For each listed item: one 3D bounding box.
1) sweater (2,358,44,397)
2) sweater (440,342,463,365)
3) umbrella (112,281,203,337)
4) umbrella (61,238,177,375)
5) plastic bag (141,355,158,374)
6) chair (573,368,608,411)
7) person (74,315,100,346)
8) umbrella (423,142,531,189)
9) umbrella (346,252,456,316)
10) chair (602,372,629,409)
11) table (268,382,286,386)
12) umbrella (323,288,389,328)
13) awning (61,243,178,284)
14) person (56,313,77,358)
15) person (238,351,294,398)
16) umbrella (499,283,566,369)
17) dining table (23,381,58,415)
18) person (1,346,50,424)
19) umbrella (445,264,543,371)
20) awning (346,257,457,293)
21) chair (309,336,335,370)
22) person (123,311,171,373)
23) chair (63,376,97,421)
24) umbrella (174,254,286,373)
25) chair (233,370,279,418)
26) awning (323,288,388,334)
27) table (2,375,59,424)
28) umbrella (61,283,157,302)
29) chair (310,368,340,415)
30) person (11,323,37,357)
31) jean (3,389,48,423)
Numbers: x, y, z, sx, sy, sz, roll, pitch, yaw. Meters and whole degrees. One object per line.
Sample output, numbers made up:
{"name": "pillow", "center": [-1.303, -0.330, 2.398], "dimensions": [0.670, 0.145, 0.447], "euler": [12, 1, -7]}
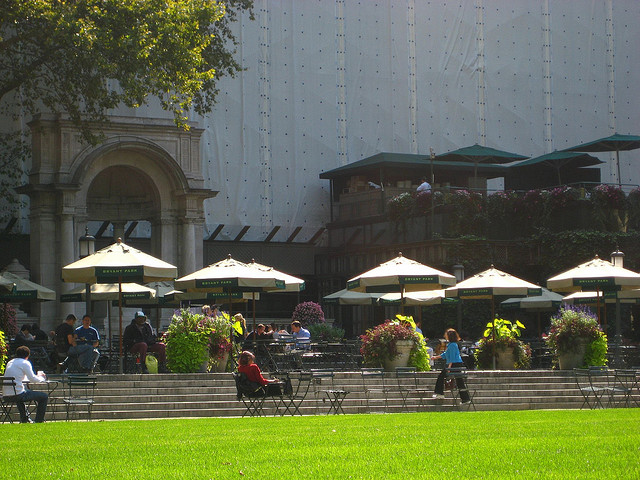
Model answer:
{"name": "sweater", "center": [-9.820, 4.490, 58.228], "dimensions": [1.010, 1.360, 1.298], "euler": [-2, -4, 37]}
{"name": "sweater", "center": [4.634, 3.949, 62.255], "dimensions": [0.604, 0.670, 0.813], "euler": [1, -3, -1]}
{"name": "umbrella", "center": [-6.647, 3.203, 72.033], "dimensions": [2.795, 3.054, 3.310], "euler": [-2, 0, -4]}
{"name": "umbrella", "center": [-7.273, 2.630, 64.299], "dimensions": [4.270, 5.590, 4.253], "euler": [-7, -11, 34]}
{"name": "plastic bag", "center": [-5.992, 4.418, 62.934], "dimensions": [0.486, 0.892, 0.584], "euler": [-14, -16, 41]}
{"name": "chair", "center": [9.507, 5.173, 62.877], "dimensions": [1.321, 1.969, 1.139], "euler": [-1, -2, -9]}
{"name": "person", "center": [-8.285, 3.194, 63.297], "dimensions": [0.850, 1.156, 0.876], "euler": [1, -8, -15]}
{"name": "umbrella", "center": [7.988, -3.890, 88.471], "dimensions": [4.009, 2.227, 5.303], "euler": [-3, -8, 6]}
{"name": "umbrella", "center": [3.080, 1.391, 66.021], "dimensions": [2.716, 2.389, 2.662], "euler": [-1, -5, -3]}
{"name": "chair", "center": [10.092, 5.373, 61.619], "dimensions": [0.926, 1.422, 0.801], "euler": [-3, -3, 28]}
{"name": "table", "center": [-1.445, 4.865, 59.747], "dimensions": [0.241, 0.073, 0.252], "euler": [2, -8, 31]}
{"name": "umbrella", "center": [1.334, 3.033, 73.443], "dimensions": [2.935, 2.266, 2.931], "euler": [0, -4, -8]}
{"name": "awning", "center": [-7.264, 0.722, 64.519], "dimensions": [4.217, 1.621, 4.639], "euler": [1, -6, -21]}
{"name": "person", "center": [-9.014, 3.426, 63.380], "dimensions": [0.678, 1.615, 1.258], "euler": [0, -8, -9]}
{"name": "person", "center": [-1.809, 4.513, 60.111], "dimensions": [0.989, 1.625, 2.212], "euler": [-11, -5, 35]}
{"name": "umbrella", "center": [9.116, 3.560, 73.073], "dimensions": [2.629, 3.171, 3.185], "euler": [2, -5, -16]}
{"name": "dining table", "center": [-9.344, 5.415, 59.874], "dimensions": [1.088, 1.184, 1.126], "euler": [1, -1, -23]}
{"name": "person", "center": [-9.667, 4.785, 58.256], "dimensions": [1.395, 2.540, 0.557], "euler": [-1, -7, -7]}
{"name": "umbrella", "center": [6.552, 2.831, 66.998], "dimensions": [3.755, 3.592, 3.486], "euler": [-5, -3, 41]}
{"name": "awning", "center": [2.958, 1.244, 66.577], "dimensions": [3.767, 1.652, 3.902], "euler": [-4, -1, -28]}
{"name": "chair", "center": [0.099, 4.302, 66.643], "dimensions": [0.858, 1.546, 1.070], "euler": [4, -9, -45]}
{"name": "person", "center": [-6.248, 3.689, 63.733], "dimensions": [1.484, 2.262, 0.843], "euler": [-1, -7, -6]}
{"name": "chair", "center": [-8.018, 5.399, 59.724], "dimensions": [1.004, 1.541, 1.821], "euler": [0, -8, -8]}
{"name": "umbrella", "center": [-3.105, 2.686, 64.452], "dimensions": [3.805, 4.347, 2.631], "euler": [-1, -7, -1]}
{"name": "chair", "center": [-2.098, 5.196, 59.569], "dimensions": [1.337, 1.751, 1.398], "euler": [3, 2, -14]}
{"name": "awning", "center": [1.795, 3.027, 73.572], "dimensions": [3.253, 2.410, 3.253], "euler": [-1, -3, 6]}
{"name": "table", "center": [-9.289, 5.192, 59.099], "dimensions": [1.062, 1.110, 1.121], "euler": [-1, -11, 5]}
{"name": "umbrella", "center": [-8.210, 1.914, 68.340], "dimensions": [3.565, 0.785, 1.930], "euler": [-6, -9, 26]}
{"name": "chair", "center": [0.338, 5.046, 61.952], "dimensions": [0.928, 1.597, 1.107], "euler": [2, -8, -20]}
{"name": "person", "center": [-10.806, 3.703, 65.124], "dimensions": [0.545, 1.843, 0.596], "euler": [10, 6, -25]}
{"name": "jean", "center": [-9.648, 5.431, 58.471], "dimensions": [1.163, 1.293, 1.025], "euler": [-6, 2, -26]}
